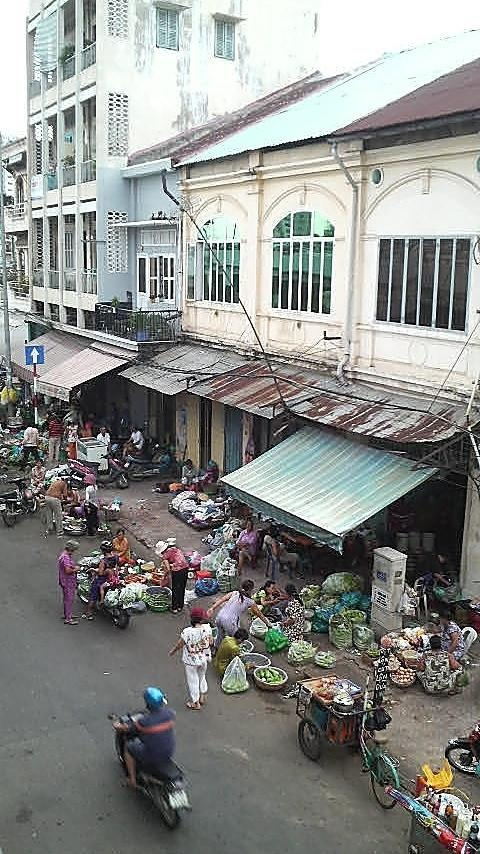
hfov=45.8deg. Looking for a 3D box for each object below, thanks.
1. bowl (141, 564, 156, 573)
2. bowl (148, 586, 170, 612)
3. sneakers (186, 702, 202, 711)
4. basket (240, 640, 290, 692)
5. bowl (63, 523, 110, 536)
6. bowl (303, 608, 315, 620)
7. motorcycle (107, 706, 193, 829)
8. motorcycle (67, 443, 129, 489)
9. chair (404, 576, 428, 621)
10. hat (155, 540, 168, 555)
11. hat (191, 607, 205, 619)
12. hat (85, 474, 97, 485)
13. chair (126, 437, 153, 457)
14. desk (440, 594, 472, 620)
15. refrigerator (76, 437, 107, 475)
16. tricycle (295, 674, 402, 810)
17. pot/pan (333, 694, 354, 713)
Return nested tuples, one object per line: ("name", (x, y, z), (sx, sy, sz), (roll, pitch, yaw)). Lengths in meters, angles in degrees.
("bowl", (-1.856, 2.837, 11.420), (0.283, 0.112, 0.458), (-1, 0, -14))
("bowl", (-1.469, 3.100, 10.159), (0.429, 0.343, 0.397), (0, 1, 0))
("sneakers", (-0.556, 3.350, 6.861), (0.145, 0.066, 0.075), (11, 11, 29))
("basket", (0.351, 3.309, 7.728), (0.505, 0.256, 0.911), (-1, 0, -20))
("bowl", (-3.783, 2.519, 13.949), (0.705, 0.303, 0.482), (3, -3, -7))
("bowl", (1.136, 3.054, 9.259), (0.150, 0.147, 0.281), (0, 1, 7))
("motorcycle", (-0.795, 2.944, 4.988), (0.513, 0.761, 1.116), (-5, 29, -26))
("motorcycle", (-4.469, 1.263, 17.387), (0.994, 1.434, 2.016), (-19, -19, 26))
("chair", (2.882, 2.794, 9.235), (0.340, 0.733, 1.446), (0, 1, 19))
("hat", (-1.729, 2.648, 12.414), (0.143, 0.355, 0.441), (33, 4, -16))
("hat", (-0.500, 2.215, 6.732), (0.162, 0.122, 0.163), (-1, 1, -10))
("hat", (-3.925, 1.372, 14.826), (0.199, 0.271, 0.269), (-5, 3, -40))
("chair", (-3.385, 0.682, 19.189), (0.631, 0.799, 0.561), (2, -3, 5))
("desk", (3.521, 2.971, 9.204), (0.542, 0.361, 0.268), (0, 1, 38))
("refrigerator", (-4.512, 0.797, 17.199), (0.738, 1.228, 1.374), (-4, 14, -26))
("tricycle", (1.054, 2.895, 5.625), (0.491, 0.958, 1.559), (0, 5, -21))
("pot/pan", (0.979, 2.585, 5.308), (0.129, 0.132, 0.142), (-1, 7, -7))
